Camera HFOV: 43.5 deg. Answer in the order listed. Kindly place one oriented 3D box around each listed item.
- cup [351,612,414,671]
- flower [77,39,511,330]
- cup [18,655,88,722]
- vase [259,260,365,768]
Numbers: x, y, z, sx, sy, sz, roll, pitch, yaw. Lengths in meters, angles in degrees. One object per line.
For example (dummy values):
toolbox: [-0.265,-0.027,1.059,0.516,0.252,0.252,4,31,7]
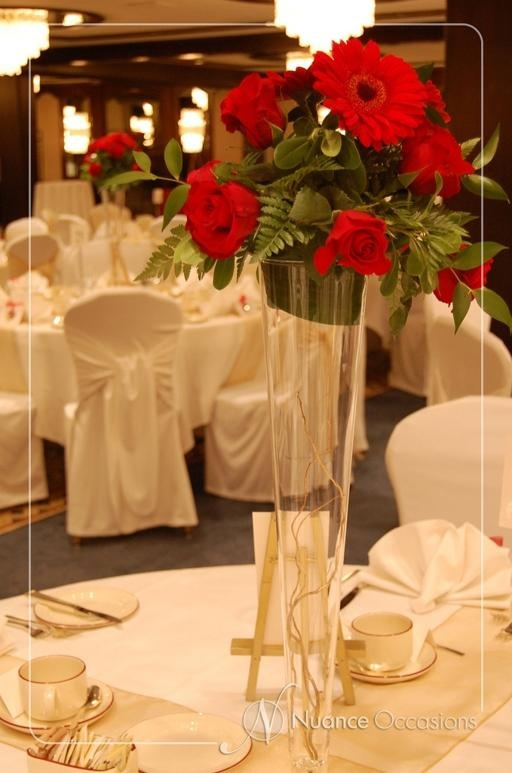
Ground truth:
cup: [0.167,0.336,0.840,0.071,0.063,0.092,-2,3,2]
flower: [0.057,-0.165,0.571,0.311,0.230,0.285,5,10,34]
cup: [-0.237,0.349,0.749,0.064,0.054,0.084,2,10,6]
vase: [0.053,0.163,0.640,0.096,0.566,0.097,-2,8,-9]
